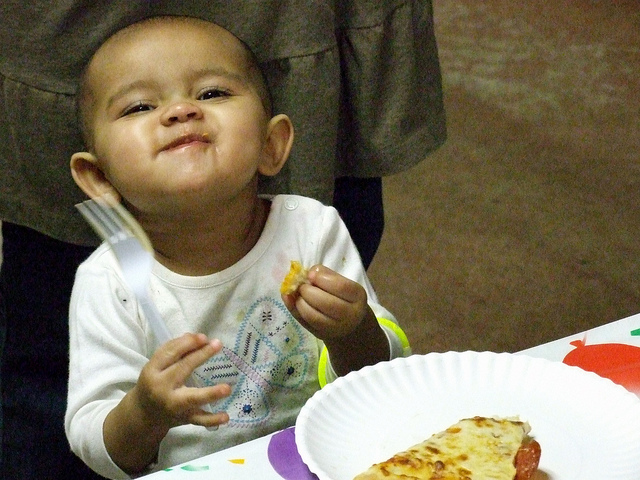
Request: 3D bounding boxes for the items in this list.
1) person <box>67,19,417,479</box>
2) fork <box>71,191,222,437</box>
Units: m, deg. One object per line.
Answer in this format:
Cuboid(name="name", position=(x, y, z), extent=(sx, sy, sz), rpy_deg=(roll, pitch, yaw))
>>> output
Cuboid(name="person", position=(-0.146, 0.010, 1.120), extent=(0.434, 0.796, 0.451), rpy_deg=(-19, 19, -20))
Cuboid(name="fork", position=(-0.260, 0.112, 1.055), extent=(0.044, 0.041, 0.400), rpy_deg=(-22, 85, -10))
